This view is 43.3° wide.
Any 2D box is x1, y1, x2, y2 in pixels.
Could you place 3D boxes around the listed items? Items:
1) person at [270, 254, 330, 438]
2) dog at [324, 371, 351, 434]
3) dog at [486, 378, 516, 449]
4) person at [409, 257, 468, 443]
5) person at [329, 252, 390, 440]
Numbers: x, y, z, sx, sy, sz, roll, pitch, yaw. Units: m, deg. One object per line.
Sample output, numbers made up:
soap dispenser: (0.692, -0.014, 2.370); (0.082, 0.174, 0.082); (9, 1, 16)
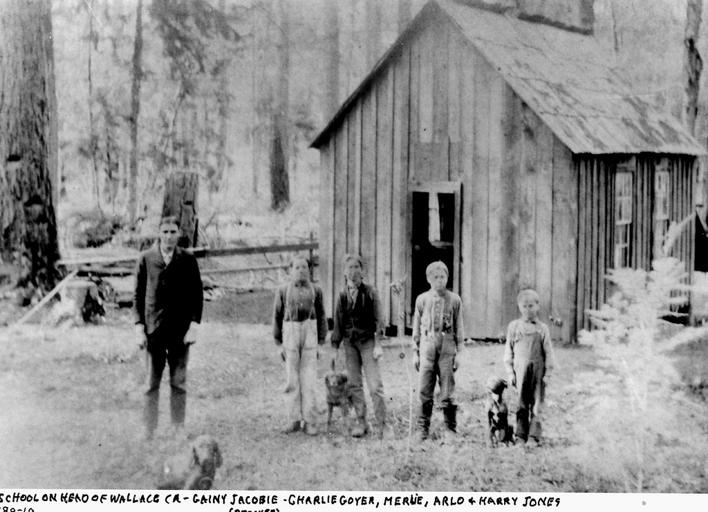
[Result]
person: (-0.544, 0.895, 8.998); (0.511, 1.778, 0.245); (1, 2, -4)
dog: (-0.159, 1.415, 9.176); (0.202, 0.599, 0.702); (3, 5, 9)
dog: (1.448, 1.538, 8.917); (0.243, 0.720, 0.220); (-6, 10, 3)
person: (0.834, 0.938, 8.909); (0.478, 1.779, 0.301); (1, 2, 8)
person: (0.058, 0.900, 8.933); (0.546, 1.829, 0.291); (1, 2, 4)
